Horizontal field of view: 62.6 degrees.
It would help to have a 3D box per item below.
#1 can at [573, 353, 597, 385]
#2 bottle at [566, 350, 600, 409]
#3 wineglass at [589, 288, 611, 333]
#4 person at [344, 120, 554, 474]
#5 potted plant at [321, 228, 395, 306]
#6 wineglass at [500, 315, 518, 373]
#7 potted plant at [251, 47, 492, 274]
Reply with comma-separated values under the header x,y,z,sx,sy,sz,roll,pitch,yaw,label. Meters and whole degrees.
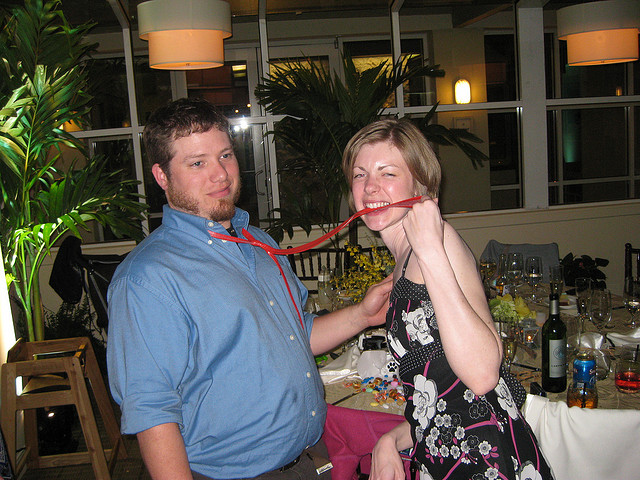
x,y,z,sx,sy,sz,roll,pitch,yaw,label
1.257,0.644,2.519,0.098,0.188,0.105,-3,6,0,can
1.252,0.672,2.513,0.092,0.279,0.099,-3,14,1,bottle
1.665,0.419,3.139,0.119,0.238,0.256,-3,2,28,wineglass
0.455,0.266,2.081,0.451,1.527,0.674,-6,3,-44,person
0.279,0.205,3.551,0.382,0.313,0.524,-29,0,10,potted plant
1.032,0.586,2.882,0.092,0.389,0.093,-9,8,-39,wineglass
0.311,-0.443,4.786,1.925,2.259,1.722,-3,10,28,potted plant
